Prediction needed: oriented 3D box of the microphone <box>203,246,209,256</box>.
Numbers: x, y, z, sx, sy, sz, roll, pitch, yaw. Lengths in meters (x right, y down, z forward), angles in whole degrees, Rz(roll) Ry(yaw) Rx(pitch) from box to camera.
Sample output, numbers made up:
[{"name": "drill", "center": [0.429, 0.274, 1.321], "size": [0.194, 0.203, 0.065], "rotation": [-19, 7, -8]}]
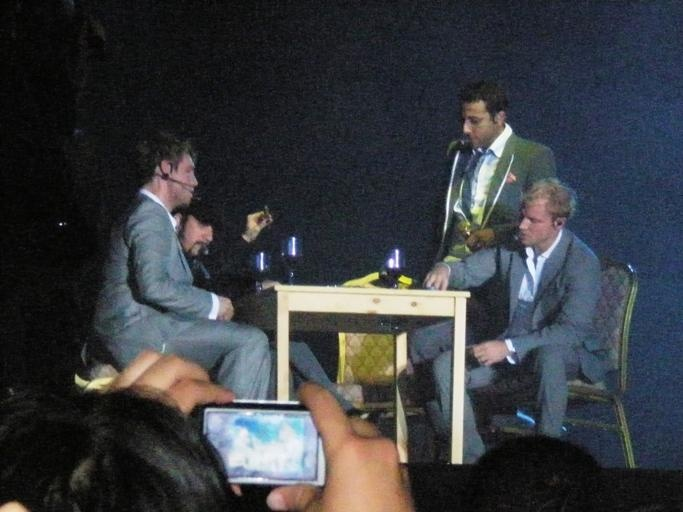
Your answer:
[{"name": "microphone", "center": [-0.590, -0.021, 3.261], "size": [0.027, 0.036, 0.038], "rotation": [1, -15, -3]}]

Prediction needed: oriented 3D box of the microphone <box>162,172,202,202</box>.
[{"name": "microphone", "center": [-0.679, -0.296, 3.168], "size": [0.116, 0.030, 0.095], "rotation": [22, -22, -4]}]

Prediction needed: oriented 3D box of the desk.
[{"name": "desk", "center": [0.075, 0.679, 2.765], "size": [0.693, 0.807, 0.844], "rotation": [3, -36, -3]}]

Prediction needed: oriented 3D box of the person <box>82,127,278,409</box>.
[{"name": "person", "center": [-0.633, 0.184, 3.231], "size": [0.849, 1.328, 0.549], "rotation": [3, -2, -29]}]

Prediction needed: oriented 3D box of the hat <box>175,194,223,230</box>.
[{"name": "hat", "center": [-0.610, -0.189, 3.232], "size": [0.170, 0.087, 0.129], "rotation": [6, 5, -24]}]
